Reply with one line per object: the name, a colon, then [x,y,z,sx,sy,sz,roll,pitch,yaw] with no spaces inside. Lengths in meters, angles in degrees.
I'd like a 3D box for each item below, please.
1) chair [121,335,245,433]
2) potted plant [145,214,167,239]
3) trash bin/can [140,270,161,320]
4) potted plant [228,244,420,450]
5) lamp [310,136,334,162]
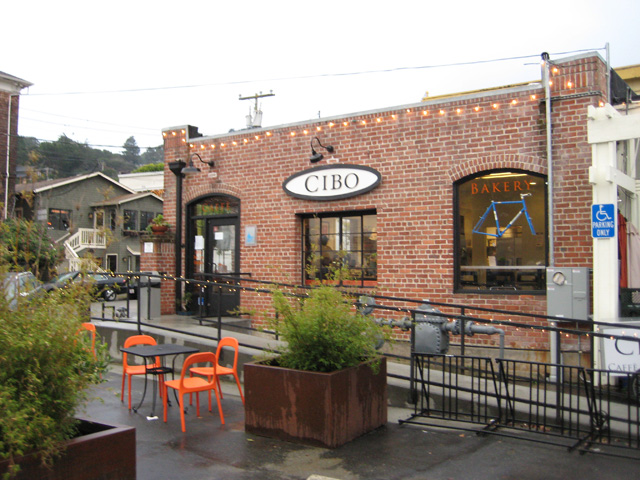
chair: [-1.810,1.872,9.843,1.189,0.959,1.308,3,-1,-36]
potted plant: [-3.678,-0.267,16.206,0.455,0.537,0.507,0,-6,4]
trash bin/can: [-3.667,1.205,15.312,0.645,0.988,0.658,1,13,-28]
potted plant: [-0.014,1.494,9.235,1.362,2.010,1.610,1,3,37]
lamp: [-0.002,-1.809,14.343,0.580,0.510,0.349,-6,-4,-45]
